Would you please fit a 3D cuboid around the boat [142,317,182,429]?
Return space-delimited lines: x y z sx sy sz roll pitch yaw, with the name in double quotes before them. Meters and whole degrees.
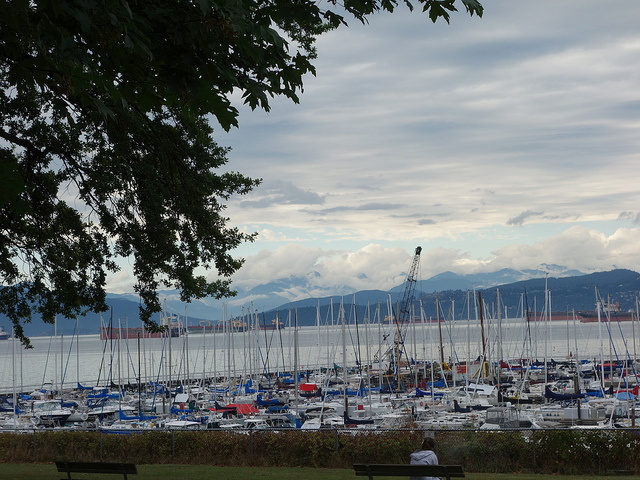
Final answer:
"boat" -8.862 7.555 64.478 1.450 6.776 4.253 15 27 13

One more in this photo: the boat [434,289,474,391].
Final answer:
"boat" 20.147 14.180 164.918 4.060 21.154 6.205 -2 -6 7

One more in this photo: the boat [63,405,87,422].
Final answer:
"boat" -15.308 11.013 69.232 1.237 0.965 4.448 -1 -11 -12

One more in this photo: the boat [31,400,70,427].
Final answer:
"boat" -17.212 10.889 69.967 1.650 2.040 5.620 0 -10 -23

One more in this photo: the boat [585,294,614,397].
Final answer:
"boat" 20.158 8.288 79.524 1.217 8.727 1.548 0 -4 11

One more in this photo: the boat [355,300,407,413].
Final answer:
"boat" 3.329 8.037 71.470 1.571 6.986 4.454 -20 -14 -14

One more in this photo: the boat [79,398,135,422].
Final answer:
"boat" -13.815 11.005 71.920 3.254 2.041 14.030 -1 -11 -11

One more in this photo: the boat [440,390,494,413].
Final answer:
"boat" 9.163 10.250 69.833 3.067 1.594 10.426 -4 -11 6

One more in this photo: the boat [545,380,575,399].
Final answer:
"boat" 17.187 10.651 78.710 1.439 1.384 5.081 -3 -11 23

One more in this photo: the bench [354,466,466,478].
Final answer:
"bench" 3.074 7.963 37.860 3.576 0.546 1.066 -8 -12 23

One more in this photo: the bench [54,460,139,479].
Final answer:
"bench" -8.030 8.265 39.457 2.925 0.732 0.749 -8 -12 23
